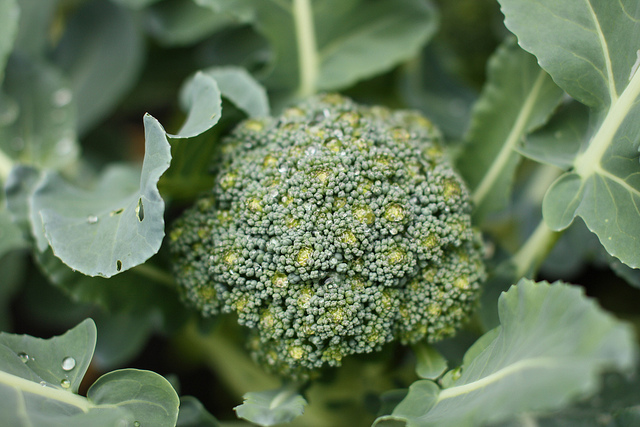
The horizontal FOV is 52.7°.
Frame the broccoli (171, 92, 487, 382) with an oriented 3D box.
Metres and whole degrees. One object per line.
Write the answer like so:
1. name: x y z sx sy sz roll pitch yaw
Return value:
1. broccoli: 0.016 0.056 1.551 0.566 0.467 0.646 -4 94 -3
